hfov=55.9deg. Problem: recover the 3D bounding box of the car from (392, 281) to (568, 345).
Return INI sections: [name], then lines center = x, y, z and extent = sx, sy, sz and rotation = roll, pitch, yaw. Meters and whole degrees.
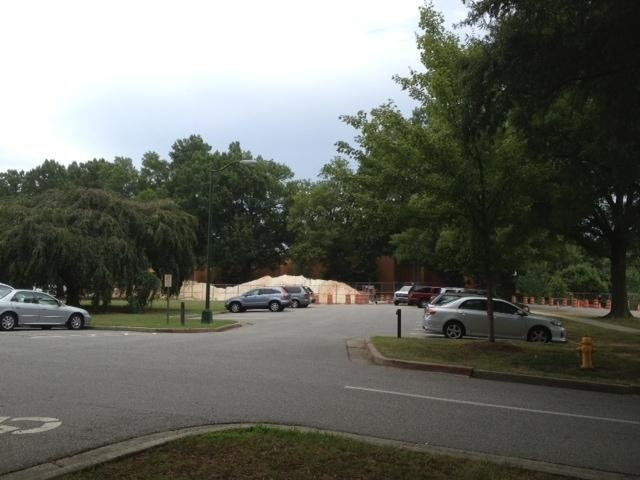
[car]
center = 6.158, 2.837, 21.886
extent = 4.673, 1.754, 1.440
rotation = 1, -1, 15
